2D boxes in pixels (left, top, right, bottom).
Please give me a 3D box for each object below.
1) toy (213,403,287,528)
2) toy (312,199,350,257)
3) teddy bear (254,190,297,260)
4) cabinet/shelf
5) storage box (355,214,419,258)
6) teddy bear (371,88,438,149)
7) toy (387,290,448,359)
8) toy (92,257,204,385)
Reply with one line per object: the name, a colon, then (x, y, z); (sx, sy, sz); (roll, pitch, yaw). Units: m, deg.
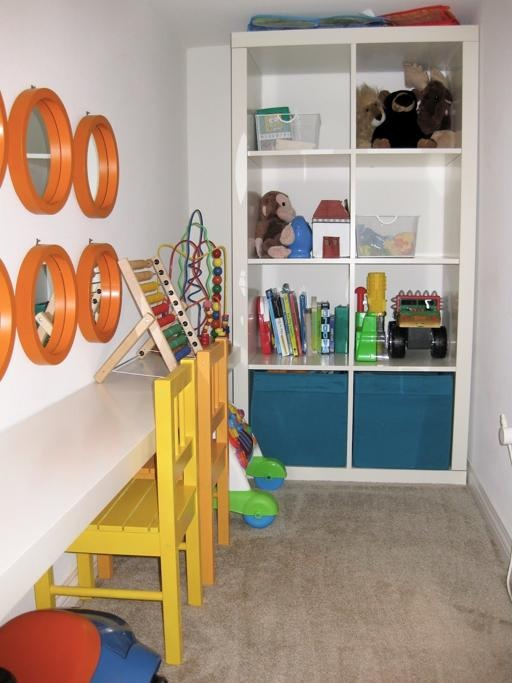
toy: (-0.029, 0.452, 2.176); (0.360, 0.404, 0.287); (-2, 12, -2)
toy: (0.323, -0.514, 2.589); (0.191, 0.322, 0.206); (0, 6, 4)
teddy bear: (0.135, -0.541, 2.681); (0.242, 0.448, 0.308); (1, 9, 6)
cabinet/shelf: (0.481, -0.331, 2.684); (1.072, 2.051, 0.605); (20, 31, 35)
storage box: (0.560, -0.430, 2.406); (0.192, 0.132, 0.206); (0, 8, 8)
teddy bear: (0.635, -0.971, 2.491); (0.249, 0.273, 0.165); (0, 14, 7)
toy: (0.729, -0.075, 2.561); (0.185, 0.223, 0.342); (-1, 2, 5)
toy: (-0.275, -0.113, 1.852); (0.354, 0.523, 0.358); (1, 17, 6)
